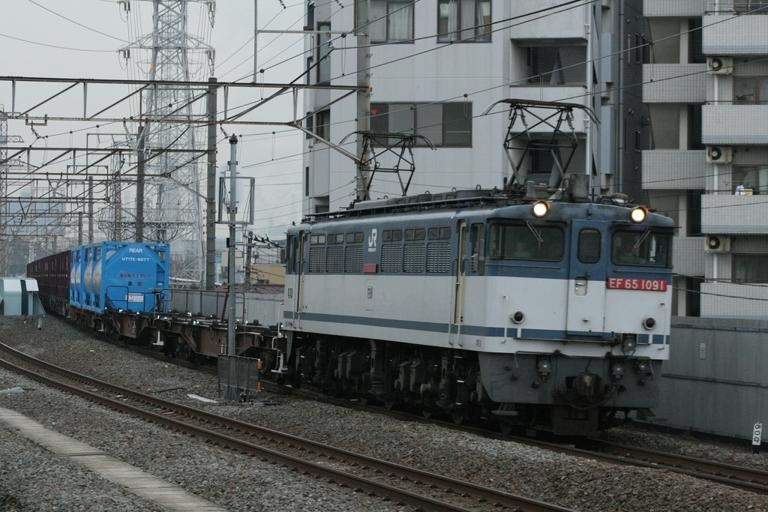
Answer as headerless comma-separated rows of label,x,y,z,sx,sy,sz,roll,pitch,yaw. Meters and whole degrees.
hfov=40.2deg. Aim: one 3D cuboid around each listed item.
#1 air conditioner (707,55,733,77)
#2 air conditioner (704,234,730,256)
air conditioner,13.167,-7.382,40.878,1.273,0.772,0.650,1,0,16
air conditioner,12.959,-0.452,40.497,1.344,0.937,0.664,0,-4,9
